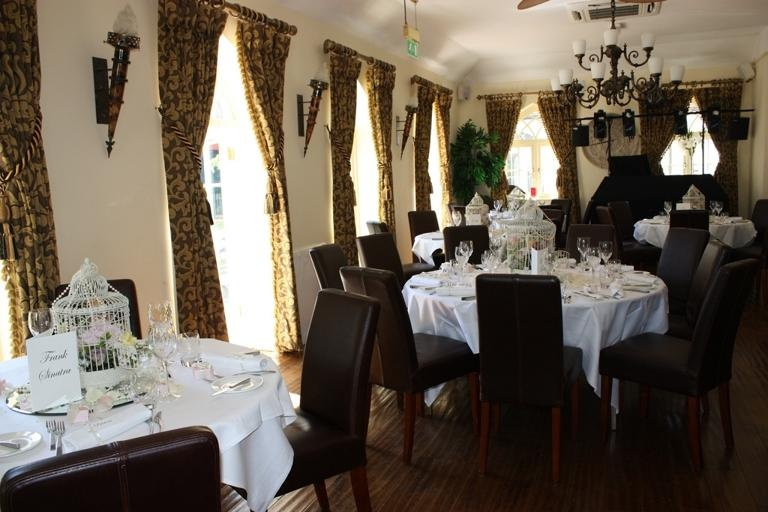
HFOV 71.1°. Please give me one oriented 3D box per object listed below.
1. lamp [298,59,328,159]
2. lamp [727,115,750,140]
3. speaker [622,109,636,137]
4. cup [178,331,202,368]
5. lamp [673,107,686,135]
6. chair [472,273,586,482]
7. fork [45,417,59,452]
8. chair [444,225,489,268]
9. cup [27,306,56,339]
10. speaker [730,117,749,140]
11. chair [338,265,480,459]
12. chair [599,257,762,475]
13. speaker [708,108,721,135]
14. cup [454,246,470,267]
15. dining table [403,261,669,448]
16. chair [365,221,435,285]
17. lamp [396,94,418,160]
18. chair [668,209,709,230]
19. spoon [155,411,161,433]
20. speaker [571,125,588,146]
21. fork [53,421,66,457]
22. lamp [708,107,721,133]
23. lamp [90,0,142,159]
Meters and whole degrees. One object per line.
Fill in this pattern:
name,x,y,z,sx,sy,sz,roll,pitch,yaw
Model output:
lamp,-0.756,-1.571,6.051,0.281,0.877,0.430,1,9,20
lamp,6.321,-2.281,9.541,0.337,0.416,0.361,6,5,18
speaker,4.511,-2.474,9.882,0.190,0.438,0.404,4,10,33
cup,-1.061,0.495,2.943,0.101,0.182,0.109,3,16,-1
lamp,5.326,-2.423,9.634,0.197,0.424,0.419,3,10,31
chair,0.980,0.757,3.634,0.724,1.363,0.495,-1,9,4
fork,-1.480,0.803,2.388,0.026,0.115,0.016,-2,-25,0
chair,0.890,-0.068,5.833,0.395,0.809,0.427,0,-3,-13
cup,-1.748,0.328,2.753,0.130,0.169,0.134,1,9,0
speaker,6.323,-2.262,9.496,0.431,0.383,0.244,-8,11,-34
chair,0.205,0.726,4.051,0.818,1.361,0.691,-8,7,-37
chair,2.112,0.690,3.867,0.610,1.379,0.820,-5,8,-35
speaker,5.804,-2.388,9.481,0.286,0.481,0.129,0,0,-3
cup,0.620,-0.001,4.373,0.128,0.243,0.155,-2,2,-10
dining table,1.250,0.743,4.695,2.021,1.081,2.169,1,5,30
chair,0.179,0.143,5.883,0.504,0.927,0.500,-18,12,-30
lamp,0.352,-1.917,8.490,0.244,0.868,0.249,16,11,18
chair,3.712,-0.436,6.520,0.288,0.257,0.296,5,14,27
spoon,-1.007,0.740,2.386,0.020,0.130,0.018,-2,-4,-6
speaker,3.673,-2.255,10.032,0.287,0.352,0.264,1,9,17
fork,-1.415,0.800,2.333,0.033,0.151,0.022,-1,-33,1
lamp,5.801,-2.395,9.485,0.290,0.482,0.131,0,1,-7
lamp,-1.986,-1.300,4.017,0.359,1.079,0.276,5,11,40
